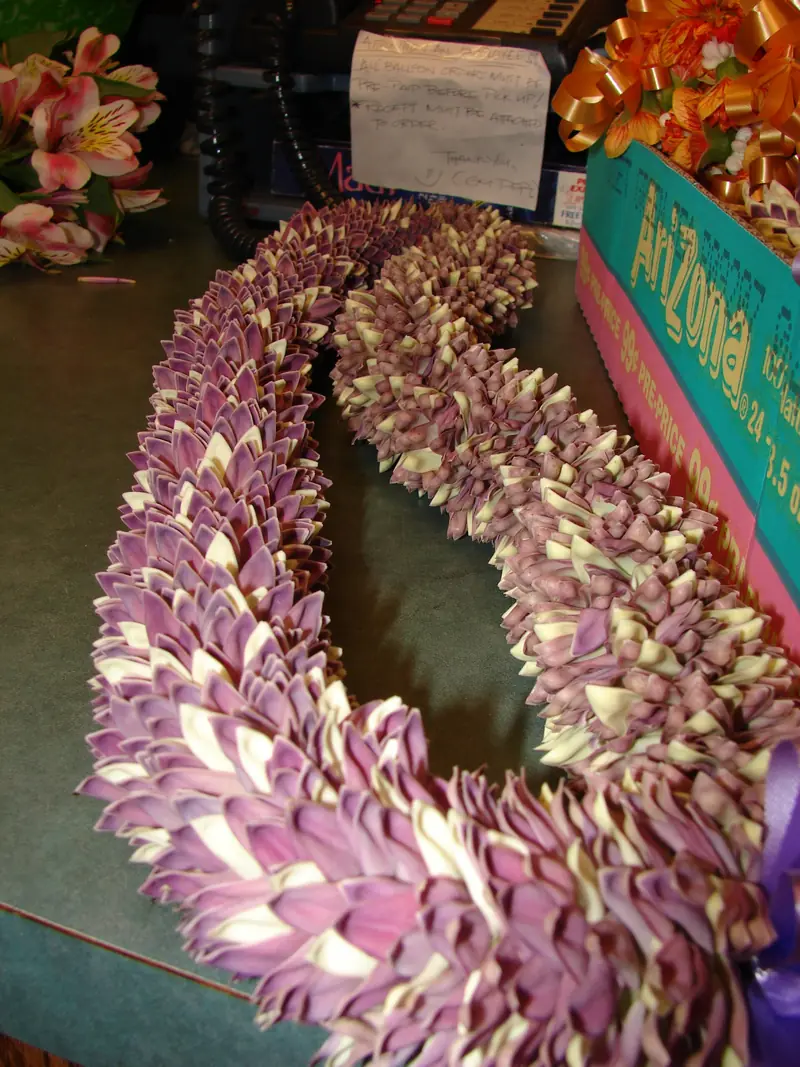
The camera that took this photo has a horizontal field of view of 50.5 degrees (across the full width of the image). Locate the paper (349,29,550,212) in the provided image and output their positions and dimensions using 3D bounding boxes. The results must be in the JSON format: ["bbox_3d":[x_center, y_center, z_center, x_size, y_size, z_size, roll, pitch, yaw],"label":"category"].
[{"bbox_3d":[0.055,-0.436,0.882,0.276,0.184,0.049,14,39,14],"label":"paper"}]
